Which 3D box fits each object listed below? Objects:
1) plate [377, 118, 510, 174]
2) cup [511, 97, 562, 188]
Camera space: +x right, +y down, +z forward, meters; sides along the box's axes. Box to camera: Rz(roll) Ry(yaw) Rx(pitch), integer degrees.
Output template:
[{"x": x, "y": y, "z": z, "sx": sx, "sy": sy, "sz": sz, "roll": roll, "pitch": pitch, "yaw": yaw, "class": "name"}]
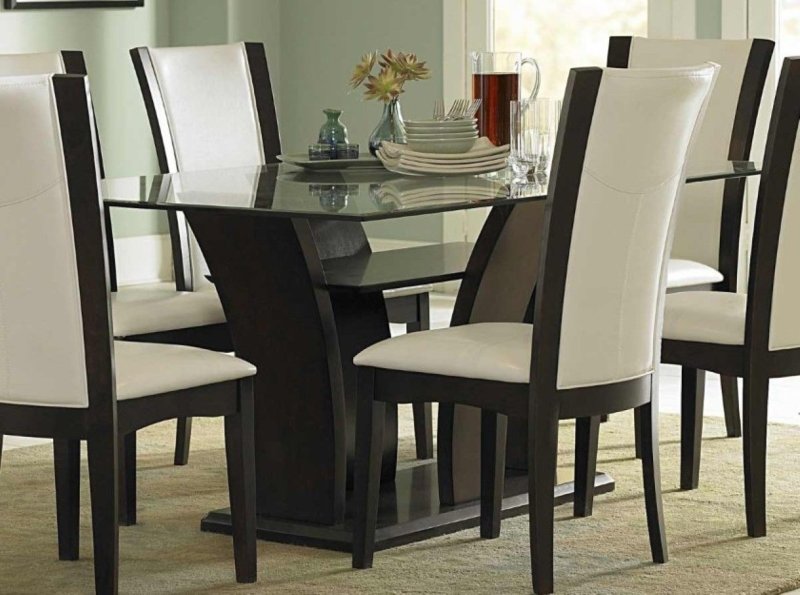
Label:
[{"x": 0.109, "y": -0.402, "z": 2.018, "sx": 0.368, "sy": 0.143, "sz": 0.252, "roll": -1, "pitch": 17, "yaw": 7, "class": "plate"}, {"x": 0.347, "y": -0.408, "z": 1.949, "sx": 0.119, "sy": 0.197, "sz": 0.292, "roll": 0, "pitch": 18, "yaw": 8, "class": "cup"}]
